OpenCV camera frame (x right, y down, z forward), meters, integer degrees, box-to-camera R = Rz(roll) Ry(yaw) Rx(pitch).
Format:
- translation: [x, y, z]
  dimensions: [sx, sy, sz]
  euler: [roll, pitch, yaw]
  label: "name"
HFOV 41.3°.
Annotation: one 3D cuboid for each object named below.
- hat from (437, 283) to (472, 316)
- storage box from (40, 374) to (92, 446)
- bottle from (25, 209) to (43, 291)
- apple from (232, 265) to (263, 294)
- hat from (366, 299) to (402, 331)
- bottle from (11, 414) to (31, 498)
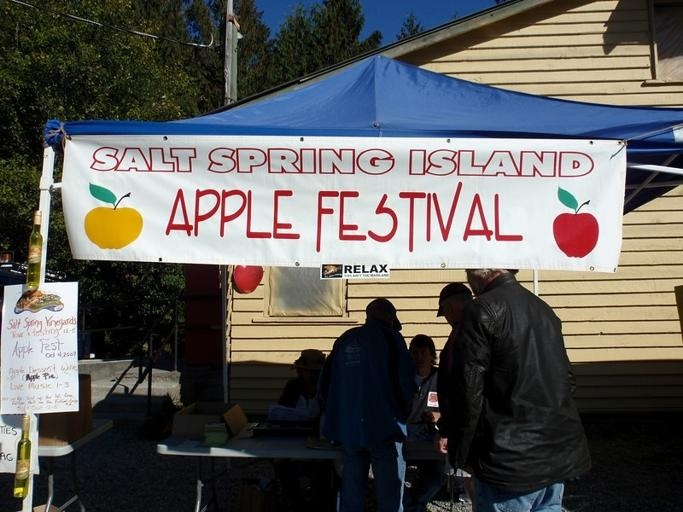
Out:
- translation: [1.127, 0.428, 9.255]
  dimensions: [0.274, 0.221, 0.378]
  euler: [-2, -5, -6]
  label: "hat"
- translation: [-2.758, 1.450, 9.177]
  dimensions: [0.515, 0.616, 0.898]
  euler: [2, -5, -27]
  label: "storage box"
- translation: [-2.879, -0.049, 8.511]
  dimensions: [0.136, 0.767, 0.167]
  euler: [1, -2, -34]
  label: "bottle"
- translation: [-1.294, 0.310, 12.357]
  dimensions: [0.442, 0.477, 0.433]
  euler: [0, -3, -20]
  label: "apple"
- translation: [0.457, 0.614, 9.334]
  dimensions: [0.274, 0.211, 0.379]
  euler: [2, -9, 40]
  label: "hat"
- translation: [-2.969, 1.867, 8.483]
  dimensions: [0.135, 0.755, 0.236]
  euler: [0, -2, -20]
  label: "bottle"
